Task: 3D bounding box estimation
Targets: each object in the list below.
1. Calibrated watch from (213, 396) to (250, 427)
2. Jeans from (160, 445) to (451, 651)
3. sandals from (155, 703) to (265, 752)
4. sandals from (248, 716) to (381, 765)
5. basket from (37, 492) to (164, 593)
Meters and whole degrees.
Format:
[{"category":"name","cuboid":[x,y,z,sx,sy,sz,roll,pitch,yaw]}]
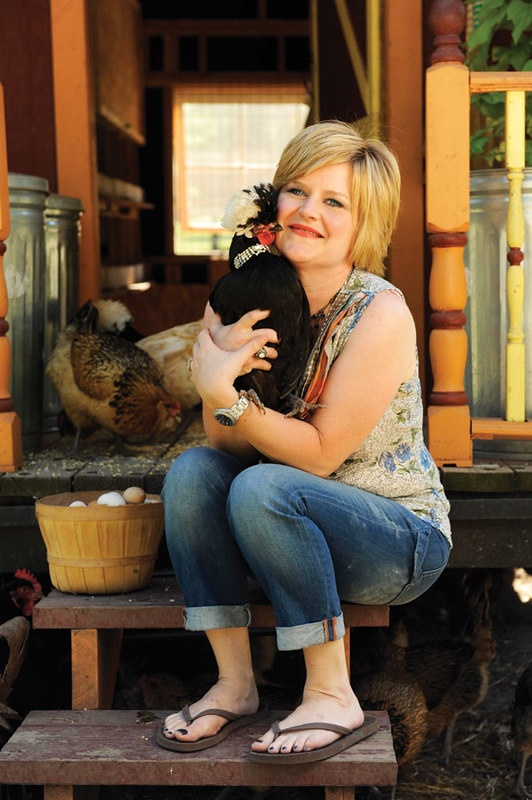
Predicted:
[{"category":"Calibrated watch","cuboid":[-0.066,0.020,1.626,0.042,0.028,0.044,-46,-9,-30]},{"category":"Jeans","cuboid":[0.081,0.292,1.787,0.548,0.333,0.402,-2,-8,-20]},{"category":"sandals","cuboid":[-0.107,0.669,1.716,0.081,0.049,0.205,0,-1,42]},{"category":"sandals","cuboid":[0.108,0.636,1.604,0.215,0.045,0.094,2,-4,-37]},{"category":"basket","cuboid":[-0.407,0.375,2.107,0.332,0.197,0.317,2,-8,-40]}]
